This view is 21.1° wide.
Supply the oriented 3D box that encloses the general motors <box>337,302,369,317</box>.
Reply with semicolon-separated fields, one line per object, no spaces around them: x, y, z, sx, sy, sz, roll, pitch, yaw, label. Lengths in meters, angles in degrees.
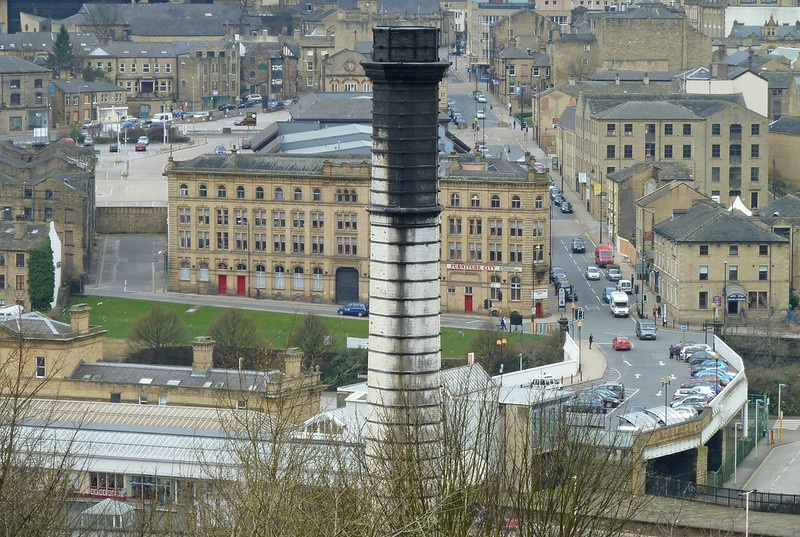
-4.395;3.682;197.591;2.517;0.953;1.396;5;8;12;general motors
